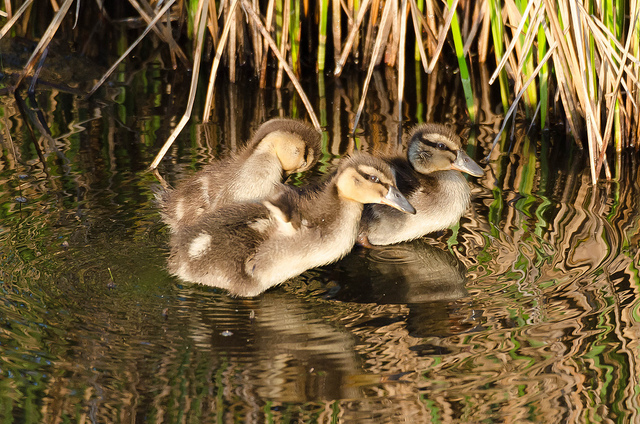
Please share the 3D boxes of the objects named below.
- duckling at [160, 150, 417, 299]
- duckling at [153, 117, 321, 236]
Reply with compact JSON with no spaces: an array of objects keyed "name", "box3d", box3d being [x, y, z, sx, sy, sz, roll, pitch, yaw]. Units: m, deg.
[{"name":"duckling","box3d":[-0.313,0.103,6.150,1.945,0.717,0.749,-18,43,-23]},{"name":"duckling","box3d":[-0.715,-0.249,6.892,1.749,0.826,0.992,-5,71,4]}]
